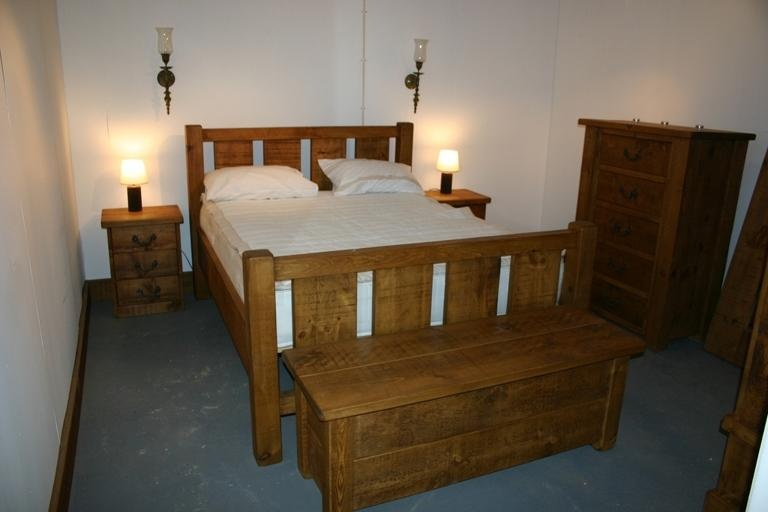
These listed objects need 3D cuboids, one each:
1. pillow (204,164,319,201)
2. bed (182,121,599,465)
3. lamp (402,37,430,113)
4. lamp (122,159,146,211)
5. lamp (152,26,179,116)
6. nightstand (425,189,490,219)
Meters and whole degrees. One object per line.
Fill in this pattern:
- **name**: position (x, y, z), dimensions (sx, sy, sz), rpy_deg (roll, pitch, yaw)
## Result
- **pillow**: position (-0.958, -0.540, 4.137), dimensions (0.504, 0.125, 0.433), rpy_deg (-7, 28, -23)
- **bed**: position (-0.263, -0.185, 3.915), dimensions (2.097, 1.624, 2.695), rpy_deg (-6, 19, -20)
- **lamp**: position (0.312, -1.550, 4.751), dimensions (0.240, 0.609, 0.230), rpy_deg (-7, 18, -15)
- **lamp**: position (-1.894, -0.545, 4.174), dimensions (0.172, 0.386, 0.267), rpy_deg (-9, 19, -20)
- **lamp**: position (-1.636, -1.388, 4.131), dimensions (0.162, 0.630, 0.183), rpy_deg (-9, 19, -18)
- **nightstand**: position (0.663, -0.517, 4.943), dimensions (0.377, 0.355, 0.373), rpy_deg (-13, 21, -41)
